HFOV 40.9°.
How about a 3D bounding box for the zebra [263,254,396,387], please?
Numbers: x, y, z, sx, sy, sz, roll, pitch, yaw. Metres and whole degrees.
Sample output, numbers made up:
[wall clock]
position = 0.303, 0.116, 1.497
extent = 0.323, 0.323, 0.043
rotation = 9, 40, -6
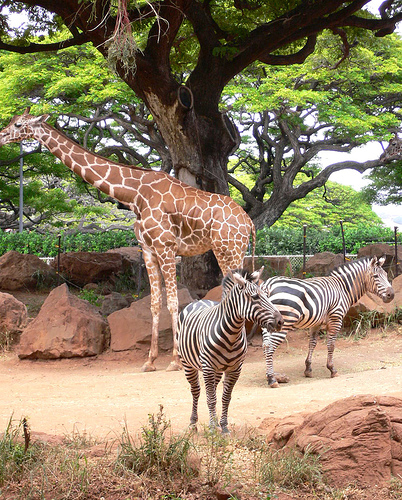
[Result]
[zebra]
position = 2.133, 1.082, 9.029
extent = 1.854, 2.022, 3.293
rotation = 4, 2, 12
